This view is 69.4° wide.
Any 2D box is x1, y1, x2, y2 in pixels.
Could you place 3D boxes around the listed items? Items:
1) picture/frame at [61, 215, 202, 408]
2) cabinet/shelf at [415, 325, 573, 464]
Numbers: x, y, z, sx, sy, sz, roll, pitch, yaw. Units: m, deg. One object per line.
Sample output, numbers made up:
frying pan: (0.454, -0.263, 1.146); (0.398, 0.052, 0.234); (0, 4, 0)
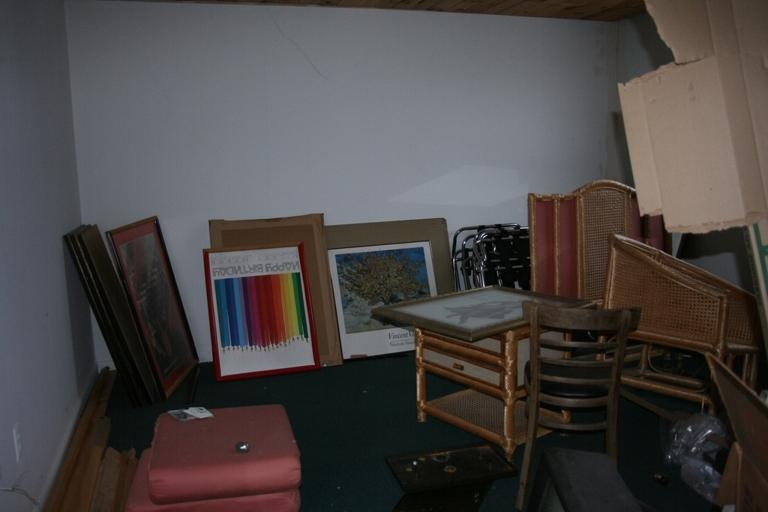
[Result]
picture/frame: (-1.912, 0.383, 4.349); (0.586, 1.320, 0.846); (0, 14, 4)
cabinet/shelf: (0.681, 0.666, 3.792); (0.801, 0.987, 1.004); (-4, 5, -38)
